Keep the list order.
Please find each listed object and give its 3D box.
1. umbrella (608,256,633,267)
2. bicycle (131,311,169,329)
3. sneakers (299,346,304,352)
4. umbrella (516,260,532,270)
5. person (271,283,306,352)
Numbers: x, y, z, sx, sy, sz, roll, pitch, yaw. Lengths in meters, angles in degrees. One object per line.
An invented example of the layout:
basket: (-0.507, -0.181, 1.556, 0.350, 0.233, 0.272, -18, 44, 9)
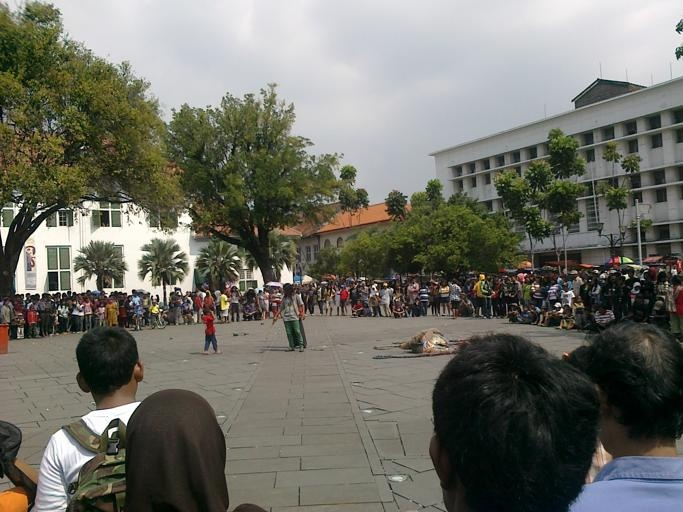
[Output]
umbrella: (13.674, 0.285, 29.607, 1.017, 0.396, 1.023, -1, -2, -3)
bicycle: (-8.956, 2.989, 27.902, 1.656, 0.986, 0.822, -1, -3, 2)
sneakers: (-0.957, 2.248, 14.490, 0.092, 0.154, 0.087, 0, 8, 4)
umbrella: (12.107, 0.623, 40.206, 0.750, 0.461, 0.656, -6, -2, 0)
person: (-1.208, 1.486, 14.672, 0.628, 1.460, 2.356, -2, -1, -5)
